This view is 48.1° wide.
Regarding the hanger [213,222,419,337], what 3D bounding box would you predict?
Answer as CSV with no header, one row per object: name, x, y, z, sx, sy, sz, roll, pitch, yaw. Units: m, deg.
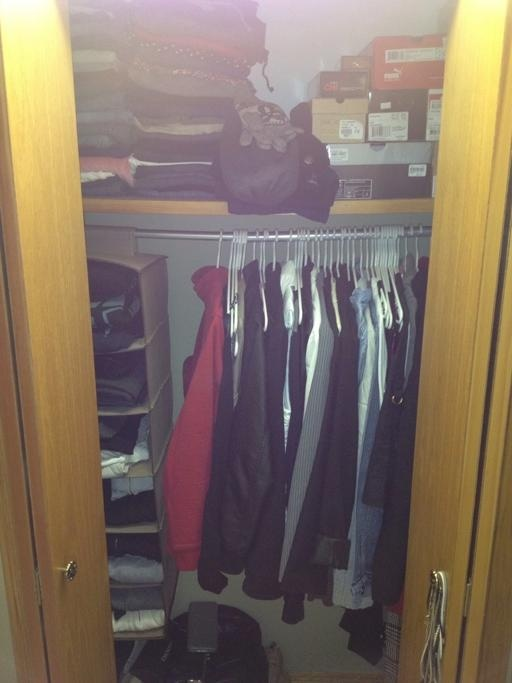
hanger,0.190,-0.218,1.690,0.583,0.257,0.758,4,16,14

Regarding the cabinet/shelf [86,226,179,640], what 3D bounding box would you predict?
cabinet/shelf,-0.357,0.312,1.713,0.212,1.296,0.361,-2,13,-11

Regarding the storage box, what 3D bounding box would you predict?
storage box,0.299,-0.584,1.567,0.310,0.436,0.264,-1,9,-1
